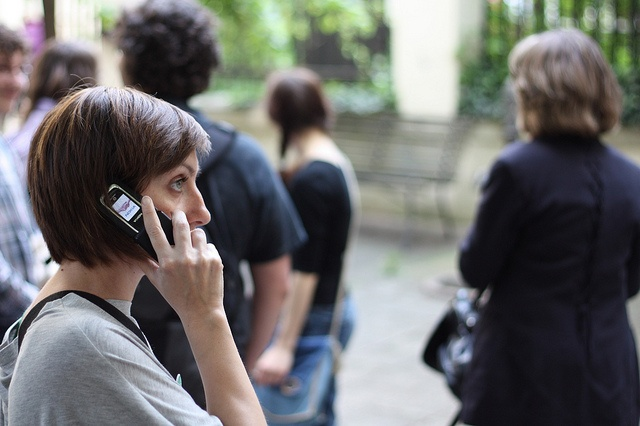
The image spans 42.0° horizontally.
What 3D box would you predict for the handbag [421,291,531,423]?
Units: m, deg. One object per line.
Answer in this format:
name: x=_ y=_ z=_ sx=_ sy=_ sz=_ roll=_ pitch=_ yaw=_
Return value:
handbag: x=0.751 y=0.708 z=4.197 sx=0.195 sy=0.592 sz=0.436 roll=19 pitch=6 yaw=-9
